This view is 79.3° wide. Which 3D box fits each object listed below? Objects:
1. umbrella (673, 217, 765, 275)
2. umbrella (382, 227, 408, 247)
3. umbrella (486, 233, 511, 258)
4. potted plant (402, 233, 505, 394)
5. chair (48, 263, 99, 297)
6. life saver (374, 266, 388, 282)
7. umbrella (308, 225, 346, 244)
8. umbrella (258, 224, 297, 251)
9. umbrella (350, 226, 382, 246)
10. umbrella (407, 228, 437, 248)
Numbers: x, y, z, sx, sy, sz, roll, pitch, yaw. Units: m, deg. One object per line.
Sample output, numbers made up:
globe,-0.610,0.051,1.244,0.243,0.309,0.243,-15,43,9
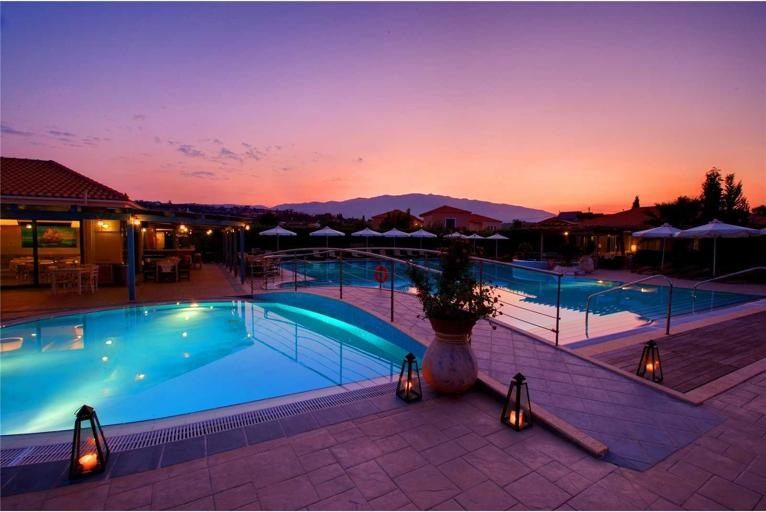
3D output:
umbrella,15.079,-0.420,20.403,5.768,2.415,2.593,-6,4,-45
umbrella,0.528,-0.970,29.819,2.065,1.214,1.889,0,6,7
umbrella,7.586,-0.609,30.924,2.207,1.635,2.028,1,12,11
potted plant,1.387,1.226,9.373,1.520,3.067,0.648,-4,4,0
chair,-10.983,0.806,16.348,1.264,0.715,1.553,1,-1,-36
life saver,-0.071,0.508,12.940,0.315,0.505,0.899,-4,3,-3
umbrella,-3.445,-1.433,28.306,1.816,0.742,1.628,1,2,5
umbrella,-6.143,-0.788,25.728,2.287,1.358,2.057,-2,7,1
umbrella,-1.167,-1.380,29.742,1.672,1.022,1.630,-1,4,31
umbrella,2.630,-0.949,29.153,1.763,1.053,1.662,-3,7,-16
